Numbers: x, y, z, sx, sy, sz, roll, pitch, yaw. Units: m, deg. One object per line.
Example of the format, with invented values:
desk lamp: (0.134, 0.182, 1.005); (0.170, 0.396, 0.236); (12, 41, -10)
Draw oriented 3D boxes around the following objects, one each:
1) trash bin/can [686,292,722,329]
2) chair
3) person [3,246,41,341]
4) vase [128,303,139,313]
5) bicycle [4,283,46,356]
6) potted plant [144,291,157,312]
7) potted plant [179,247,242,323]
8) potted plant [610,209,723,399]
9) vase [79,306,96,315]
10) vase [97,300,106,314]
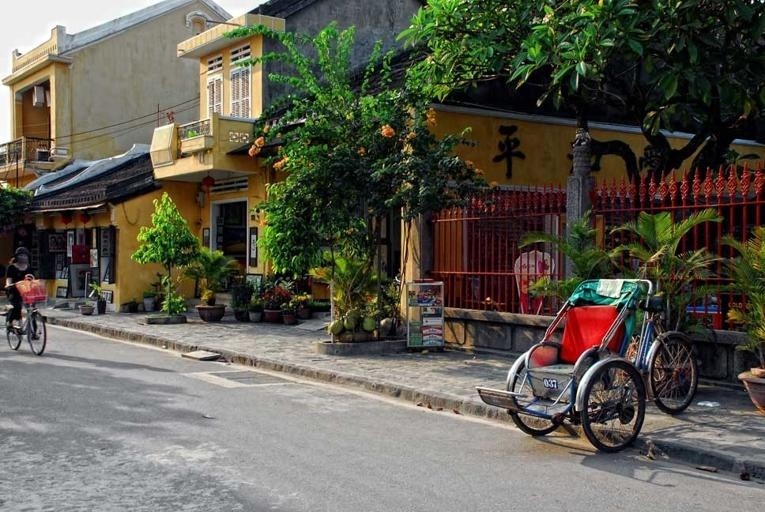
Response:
trash bin/can: (5.282, 0.876, 13.236); (0.314, 0.714, 0.669); (-27, 22, -36)
chair: (2.728, 1.204, 11.174); (1.114, 0.820, 0.852); (-1, 0, -36)
person: (-7.804, 0.731, 16.993); (0.505, 1.678, 2.008); (0, -1, -38)
vase: (-8.094, 1.659, 25.563); (0.262, 0.295, 0.265); (7, 6, 40)
bicycle: (-7.562, 1.293, 16.865); (0.453, 1.437, 1.735); (0, -1, -39)
potted plant: (-7.587, 1.458, 25.618); (0.559, 0.689, 0.501); (1, -3, -22)
potted plant: (-4.824, 0.865, 22.590); (1.626, 1.966, 1.527); (1, -3, -39)
potted plant: (4.807, 0.718, 13.689); (2.698, 2.962, 1.082); (-1, -2, 11)
vase: (-9.031, 1.643, 24.038); (0.307, 0.182, 0.313); (6, -4, -28)
vase: (-8.781, 1.600, 24.661); (0.351, 0.512, 0.387); (2, -2, -11)
